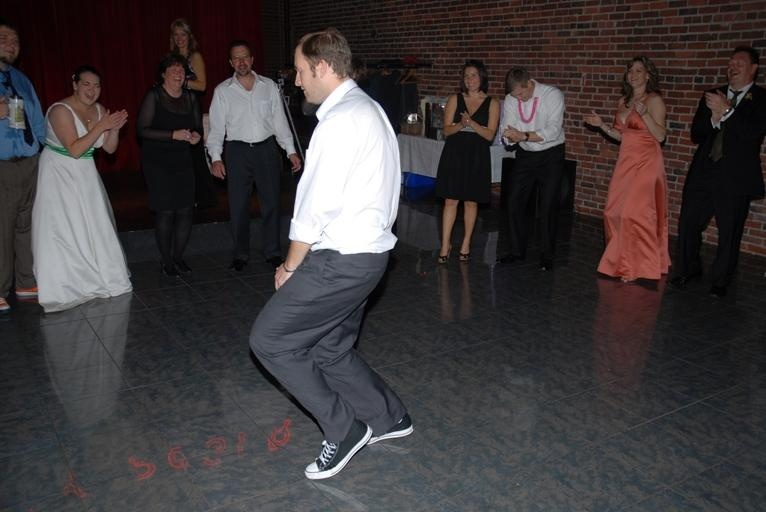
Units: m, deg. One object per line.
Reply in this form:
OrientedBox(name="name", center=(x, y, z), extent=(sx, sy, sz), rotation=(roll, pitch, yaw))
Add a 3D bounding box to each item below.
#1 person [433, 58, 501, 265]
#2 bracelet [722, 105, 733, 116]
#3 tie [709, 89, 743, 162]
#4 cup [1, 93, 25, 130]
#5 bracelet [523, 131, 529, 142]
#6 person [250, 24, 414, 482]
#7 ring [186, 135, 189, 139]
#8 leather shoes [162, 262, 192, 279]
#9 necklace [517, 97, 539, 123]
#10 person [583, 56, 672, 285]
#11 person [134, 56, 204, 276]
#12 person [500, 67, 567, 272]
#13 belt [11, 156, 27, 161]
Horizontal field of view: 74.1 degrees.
OrientedBox(name="person", center=(0.858, -0.954, 5.298), extent=(0.603, 2.019, 0.451), rotation=(1, 19, 6))
OrientedBox(name="bracelet", center=(2.948, -1.246, 4.360), extent=(0.023, 0.070, 0.070), rotation=(43, 11, -7))
OrientedBox(name="tie", center=(3.029, -1.150, 4.496), extent=(0.148, 0.616, 0.267), rotation=(16, 25, 41))
OrientedBox(name="cup", center=(-2.916, -1.127, 4.016), extent=(0.125, 0.230, 0.149), rotation=(-4, 19, -9))
OrientedBox(name="bracelet", center=(1.395, -1.169, 4.992), extent=(0.032, 0.067, 0.057), rotation=(13, 39, 18))
OrientedBox(name="person", center=(-0.288, 0.029, 2.613), extent=(0.861, 2.230, 0.458), rotation=(-13, 22, -32))
OrientedBox(name="ring", center=(-1.786, -1.075, 4.598), extent=(0.008, 0.050, 0.013), rotation=(16, 26, -50))
OrientedBox(name="leather shoes", center=(-2.077, 0.138, 5.038), extent=(0.212, 0.088, 0.160), rotation=(7, 8, 38))
OrientedBox(name="necklace", center=(1.453, -1.469, 5.151), extent=(0.210, 0.240, 0.043), rotation=(10, 21, 27))
OrientedBox(name="person", center=(2.444, -0.806, 4.856), extent=(0.760, 2.048, 0.566), rotation=(10, 22, 30))
OrientedBox(name="person", center=(-1.977, -0.814, 4.801), extent=(0.552, 2.014, 0.335), rotation=(-6, 19, -15))
OrientedBox(name="person", center=(1.505, -0.884, 5.223), extent=(0.623, 1.957, 0.504), rotation=(4, 19, 14))
OrientedBox(name="belt", center=(-3.051, -0.806, 4.234), extent=(0.032, 0.046, 0.117), rotation=(10, 22, 28))
